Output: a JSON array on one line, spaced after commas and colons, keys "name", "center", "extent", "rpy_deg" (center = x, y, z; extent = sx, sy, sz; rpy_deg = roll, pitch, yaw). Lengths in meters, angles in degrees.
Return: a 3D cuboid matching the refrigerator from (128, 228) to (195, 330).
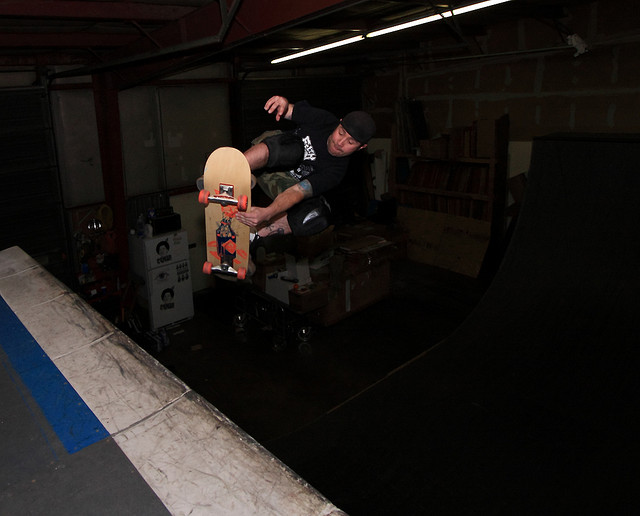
[{"name": "refrigerator", "center": [-2.600, 0.348, 7.739], "extent": [0.901, 1.549, 0.564], "rpy_deg": [-8, 18, -19]}]
